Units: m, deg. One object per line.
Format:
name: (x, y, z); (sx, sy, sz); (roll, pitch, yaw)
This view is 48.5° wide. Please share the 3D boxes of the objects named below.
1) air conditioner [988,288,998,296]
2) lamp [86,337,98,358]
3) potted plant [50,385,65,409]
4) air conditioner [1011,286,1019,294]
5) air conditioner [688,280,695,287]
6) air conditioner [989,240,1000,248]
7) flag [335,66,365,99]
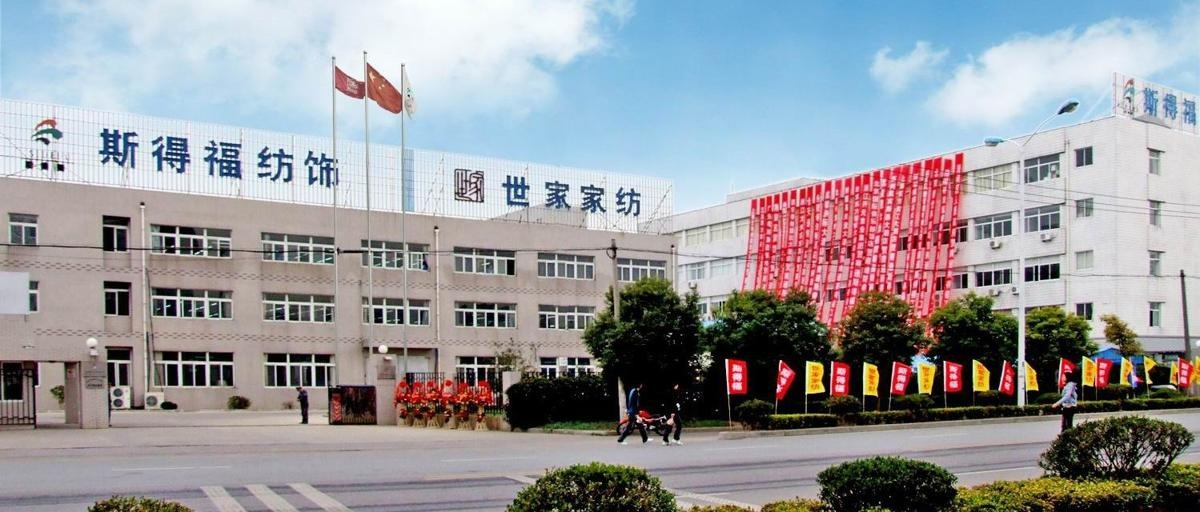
air conditioner: (41.025, 3.861, 138.813); (1.264, 0.511, 0.854); (2, -2, 21)
lamp: (-43.432, 7.869, 113.849); (0.735, 1.536, 1.210); (6, -14, -28)
potted plant: (-51.613, 13.287, 126.722); (1.489, 2.038, 0.655); (-7, -14, 24)
air conditioner: (42.311, 3.518, 136.094); (0.850, 0.803, 1.080); (1, -2, -23)
air conditioner: (10.227, 3.158, 150.008); (1.015, 0.565, 0.484); (1, 4, 15)
air conditioner: (41.238, -1.241, 139.196); (0.957, 0.645, 1.302); (-1, -8, 32)
flag: (-25.084, -17.329, 133.611); (3.777, 2.637, 0.446); (10, 6, 19)
